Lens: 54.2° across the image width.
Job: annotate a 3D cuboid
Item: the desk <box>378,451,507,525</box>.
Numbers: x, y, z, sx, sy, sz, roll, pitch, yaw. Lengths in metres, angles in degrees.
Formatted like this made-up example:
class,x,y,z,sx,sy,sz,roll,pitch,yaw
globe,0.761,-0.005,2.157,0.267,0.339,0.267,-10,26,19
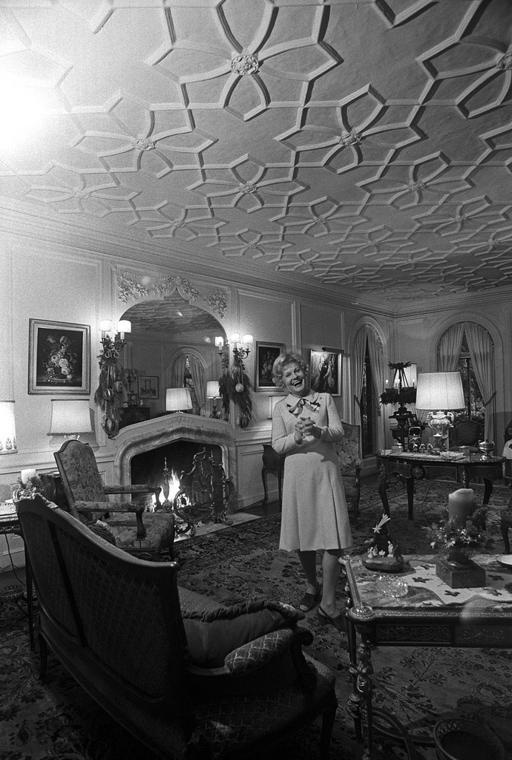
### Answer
class,x,y,z,sx,sy,sz,roll,pitch,yaw
desk,1.976,1.219,5.445,1.283,0.847,0.594,-3,6,31

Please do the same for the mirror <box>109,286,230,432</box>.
class,x,y,z,sx,sy,sz,roll,pitch,yaw
mirror,-1.362,-0.126,6.981,1.419,1.361,0.697,3,-4,36

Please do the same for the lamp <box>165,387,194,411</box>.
class,x,y,z,sx,sy,sz,roll,pitch,yaw
lamp,-1.116,0.288,7.268,0.359,0.381,0.252,-4,2,-6

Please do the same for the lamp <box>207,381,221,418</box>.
class,x,y,z,sx,sy,sz,roll,pitch,yaw
lamp,-0.614,0.276,7.199,0.172,0.474,0.636,-7,6,-8

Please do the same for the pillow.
class,x,y,z,sx,sy,sz,roll,pitch,yaw
pillow,-0.056,0.754,1.532,0.266,0.094,0.212,-8,5,-8

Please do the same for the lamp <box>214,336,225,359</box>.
class,x,y,z,sx,sy,sz,roll,pitch,yaw
lamp,-0.494,-0.451,6.935,0.114,0.293,0.300,-7,6,-5

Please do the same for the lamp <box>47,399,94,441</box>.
class,x,y,z,sx,sy,sz,roll,pitch,yaw
lamp,-1.619,0.308,4.518,0.396,0.425,0.391,1,4,-7

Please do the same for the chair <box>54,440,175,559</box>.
class,x,y,z,sx,sy,sz,roll,pitch,yaw
chair,-1.006,1.012,3.734,0.798,1.157,0.752,-3,0,-9

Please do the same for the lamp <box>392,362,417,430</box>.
class,x,y,z,sx,sy,sz,roll,pitch,yaw
lamp,2.036,0.266,6.909,0.345,0.966,0.345,-11,14,11

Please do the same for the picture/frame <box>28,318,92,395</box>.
class,x,y,z,sx,sy,sz,roll,pitch,yaw
picture/frame,-1.916,-0.219,4.819,0.035,0.891,0.706,-5,-5,32

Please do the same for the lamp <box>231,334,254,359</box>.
class,x,y,z,sx,sy,sz,roll,pitch,yaw
lamp,-0.199,-0.445,6.847,0.374,0.344,0.290,4,-11,-45
